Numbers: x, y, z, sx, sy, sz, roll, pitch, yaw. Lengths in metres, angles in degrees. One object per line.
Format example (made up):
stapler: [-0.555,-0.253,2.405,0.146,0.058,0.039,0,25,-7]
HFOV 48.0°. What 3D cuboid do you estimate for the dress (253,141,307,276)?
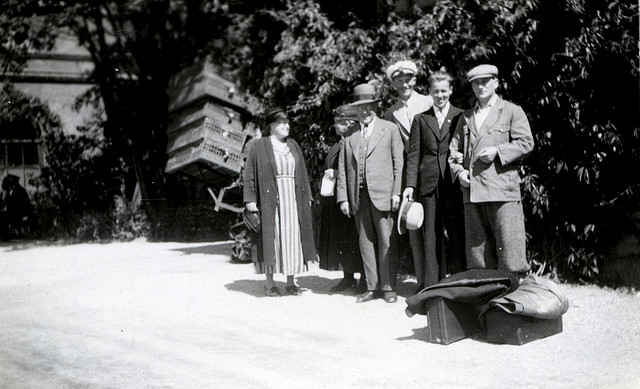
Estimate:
dress: [-0.516,0.146,8.799,0.612,1.648,0.544,-3,1,-22]

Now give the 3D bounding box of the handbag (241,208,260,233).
handbag: [-0.842,0.326,8.664,0.181,0.270,0.124,-18,-3,-38]

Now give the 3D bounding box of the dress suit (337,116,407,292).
dress suit: [0.632,0.126,8.562,0.820,2.045,0.222,-2,-4,3]

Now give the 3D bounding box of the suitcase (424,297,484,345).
suitcase: [1.448,1.238,7.556,0.587,0.554,0.221,-14,9,-35]

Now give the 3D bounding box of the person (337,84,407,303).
person: [0.710,-0.008,8.898,0.800,2.568,0.940,0,0,11]

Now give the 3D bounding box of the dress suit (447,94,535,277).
dress suit: [1.924,-0.043,8.066,0.702,2.136,0.922,-5,3,-45]

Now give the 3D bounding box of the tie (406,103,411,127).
tie: [1.087,-0.975,8.734,0.038,0.260,0.037,-13,4,2]

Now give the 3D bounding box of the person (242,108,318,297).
person: [-0.553,0.122,9.037,0.784,2.383,1.011,-1,-1,-23]
